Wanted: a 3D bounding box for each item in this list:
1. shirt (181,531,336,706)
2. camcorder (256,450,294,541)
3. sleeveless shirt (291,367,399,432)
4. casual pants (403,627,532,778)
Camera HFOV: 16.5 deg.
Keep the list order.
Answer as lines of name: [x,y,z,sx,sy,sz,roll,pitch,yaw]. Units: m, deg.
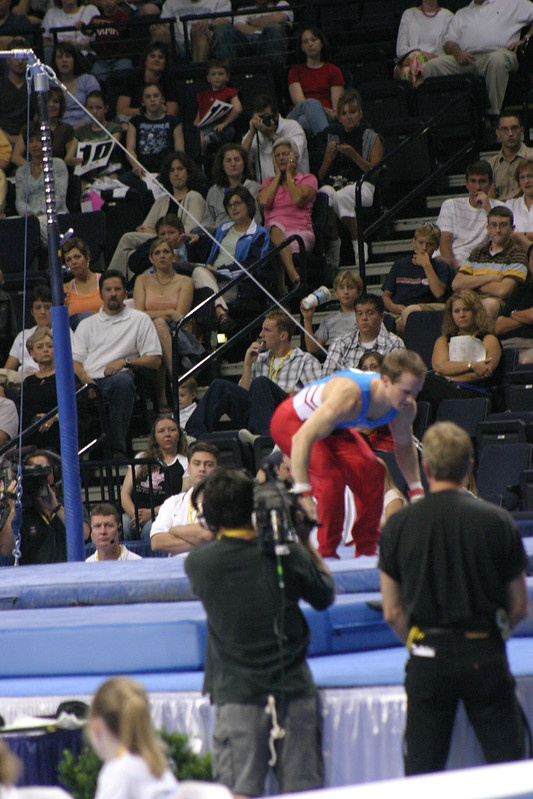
shirt: [0.053,0.736,6.993,0.658,0.811,0.549,-1,7,6]
camcorder: [0.034,0.377,6.970,0.125,0.124,0.377,28,16,-18]
sleeveless shirt: [0.332,0.013,7.737,0.374,0.297,0.582,-5,7,-7]
casual pants: [0.723,1.118,6.734,0.464,0.816,0.246,-4,23,10]
